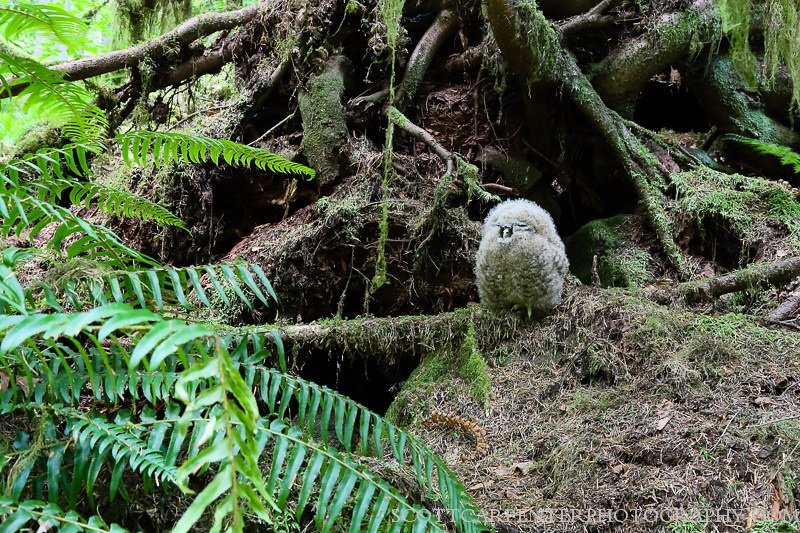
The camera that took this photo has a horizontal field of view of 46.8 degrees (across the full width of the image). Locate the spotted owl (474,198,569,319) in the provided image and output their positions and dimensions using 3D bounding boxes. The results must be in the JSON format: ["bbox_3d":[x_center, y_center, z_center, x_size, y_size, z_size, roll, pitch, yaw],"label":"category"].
[{"bbox_3d":[1.110,-0.107,8.213,0.807,1.093,1.006,0,-1,35],"label":"spotted owl"}]
